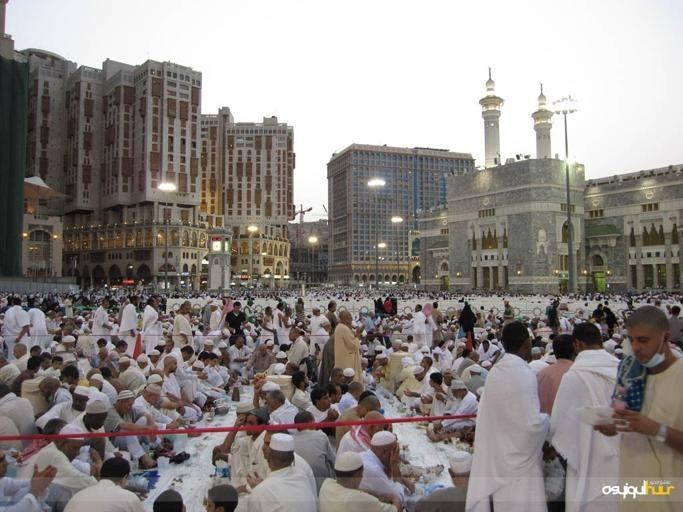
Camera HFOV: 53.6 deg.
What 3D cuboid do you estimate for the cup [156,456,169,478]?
[{"bbox_3d":[-2.913,3.427,11.173,0.180,0.361,0.206,-10,-13,20],"label":"cup"}]

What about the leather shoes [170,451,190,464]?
[{"bbox_3d":[-2.718,3.384,11.437,0.230,0.105,0.139,-18,19,-18],"label":"leather shoes"}]

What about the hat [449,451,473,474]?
[{"bbox_3d":[1.628,2.815,9.293,0.303,0.295,0.297,-2,-5,21],"label":"hat"}]

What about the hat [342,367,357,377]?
[{"bbox_3d":[0.135,2.216,13.111,0.272,0.131,0.371,2,-2,3],"label":"hat"}]

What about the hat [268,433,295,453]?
[{"bbox_3d":[-0.782,2.404,8.765,0.332,0.199,0.363,4,-12,-6],"label":"hat"}]

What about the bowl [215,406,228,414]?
[{"bbox_3d":[-2.437,3.136,13.877,0.150,0.148,0.193,4,-8,-40],"label":"bowl"}]

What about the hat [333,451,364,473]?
[{"bbox_3d":[0.105,2.684,8.877,0.451,0.244,0.650,2,-12,-1],"label":"hat"}]
